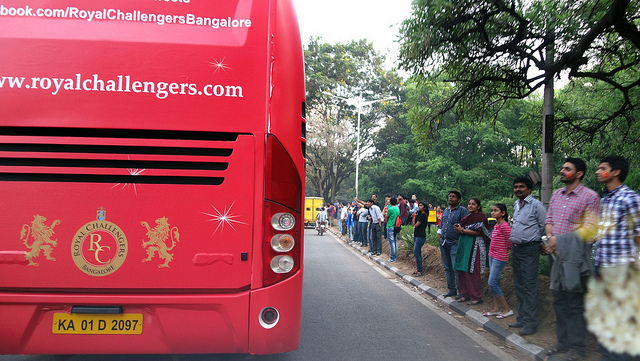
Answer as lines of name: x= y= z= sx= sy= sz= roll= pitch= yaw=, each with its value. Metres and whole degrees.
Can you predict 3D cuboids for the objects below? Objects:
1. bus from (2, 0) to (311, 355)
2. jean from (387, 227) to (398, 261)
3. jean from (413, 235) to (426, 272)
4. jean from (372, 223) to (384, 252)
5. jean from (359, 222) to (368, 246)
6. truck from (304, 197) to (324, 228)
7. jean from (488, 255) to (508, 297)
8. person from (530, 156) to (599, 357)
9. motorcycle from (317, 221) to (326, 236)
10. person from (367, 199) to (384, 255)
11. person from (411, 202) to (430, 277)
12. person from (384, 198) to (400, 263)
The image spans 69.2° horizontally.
bus: x=-2.167 y=-0.112 z=6.052 sx=3.741 sy=4.740 sz=0.976 roll=1 pitch=1 yaw=-16
jean: x=2.451 y=2.196 z=16.117 sx=0.311 sy=1.025 sz=0.462 roll=2 pitch=0 yaw=11
jean: x=2.839 y=2.131 z=13.499 sx=0.282 sy=0.940 sz=0.511 roll=2 pitch=0 yaw=11
jean: x=2.191 y=2.224 z=18.195 sx=0.357 sy=0.961 sz=0.792 roll=1 pitch=0 yaw=3
jean: x=1.957 y=2.431 z=21.333 sx=0.335 sy=0.920 sz=0.862 roll=1 pitch=0 yaw=3
truck: x=-0.513 y=2.517 z=37.654 sx=1.504 sy=1.501 sz=2.544 roll=1 pitch=-7 yaw=-3
jean: x=3.523 y=1.944 z=9.354 sx=0.292 sy=0.777 sz=0.456 roll=2 pitch=0 yaw=18
person: x=4.214 y=1.246 z=7.931 sx=0.843 sy=3.421 sz=1.249 roll=2 pitch=1 yaw=29
motorcycle: x=0.040 y=3.136 z=30.617 sx=0.435 sy=0.742 sz=0.460 roll=1 pitch=0 yaw=3
person: x=2.135 y=1.933 z=18.010 sx=0.507 sy=1.771 sz=1.301 roll=2 pitch=0 yaw=6
person: x=2.956 y=1.730 z=13.800 sx=0.464 sy=1.909 sz=1.153 roll=2 pitch=0 yaw=13
person: x=2.451 y=1.717 z=16.118 sx=0.408 sy=1.917 sz=0.628 roll=2 pitch=0 yaw=10
